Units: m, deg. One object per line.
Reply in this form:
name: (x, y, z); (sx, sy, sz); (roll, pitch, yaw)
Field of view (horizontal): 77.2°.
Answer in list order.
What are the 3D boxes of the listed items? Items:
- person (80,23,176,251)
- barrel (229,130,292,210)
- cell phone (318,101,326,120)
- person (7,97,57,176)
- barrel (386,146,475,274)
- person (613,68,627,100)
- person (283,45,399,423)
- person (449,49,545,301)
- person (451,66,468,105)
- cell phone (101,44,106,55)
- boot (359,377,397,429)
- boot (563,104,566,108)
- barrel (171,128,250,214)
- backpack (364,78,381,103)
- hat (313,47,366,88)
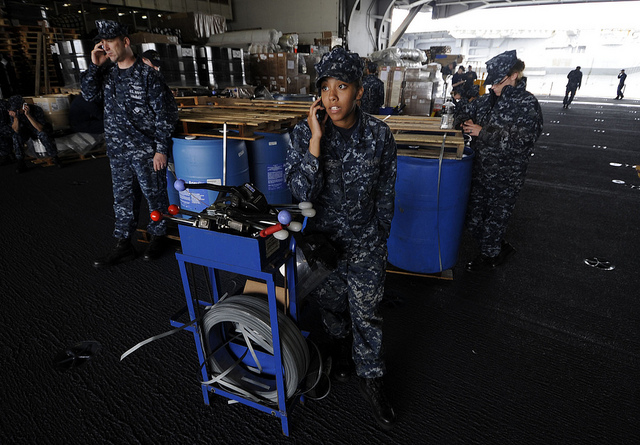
person: (-1.931, -0.838, 4.076); (0.934, 2.061, 0.622); (0, 15, -5)
barrel: (-0.700, -0.725, 5.043); (0.782, 1.241, 0.753); (0, 15, 0)
cell phone: (0.013, -0.747, 2.705); (0.051, 0.113, 0.100); (0, 22, -1)
person: (-4.782, -1.448, 6.618); (0.610, 1.132, 0.770); (-13, 26, -31)
barrel: (1.029, -0.064, 3.850); (0.710, 1.149, 0.251); (5, 22, 10)
person: (12.789, -5.796, 17.048); (0.362, 1.245, 1.985); (15, 26, 33)
person: (0.195, 0.098, 2.879); (0.895, 2.491, 0.755); (6, 22, 14)
person: (1.689, -0.521, 3.976); (0.742, 2.163, 1.490); (12, 25, 26)
person: (3.177, -3.028, 9.118); (0.315, 1.017, 0.253); (12, 35, 34)
cell phone: (-2.073, -1.651, 3.840); (0.042, 0.061, 0.017); (15, 36, 38)
boot: (0.436, 1.284, 2.956); (0.169, 0.244, 0.389); (-12, 42, -34)
boot: (8.741, -4.114, 14.285); (0.056, 0.096, 0.140); (7, 23, 14)
barrel: (-1.149, -0.585, 4.331); (0.758, 1.022, 0.746); (5, 18, -2)
backpack: (0.882, -2.237, 6.840); (0.316, 0.472, 0.267); (4, 34, 16)
hat: (0.131, -1.006, 2.627); (0.297, 0.244, 0.225); (3, 22, 6)
